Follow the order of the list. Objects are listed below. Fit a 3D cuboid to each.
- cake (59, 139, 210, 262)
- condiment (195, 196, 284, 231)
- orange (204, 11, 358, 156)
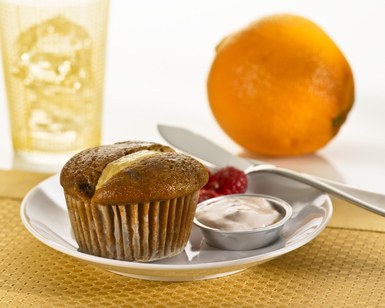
[{"bbox_3d":[-0.103,0.087,0.782,0.271,0.174,0.276,-6,13,-26],"label":"cake"},{"bbox_3d":[0.082,0.098,0.778,0.148,0.049,0.118,-3,9,-28],"label":"condiment"},{"bbox_3d":[0.242,-0.209,1.135,0.455,0.325,0.351,3,31,25],"label":"orange"}]
